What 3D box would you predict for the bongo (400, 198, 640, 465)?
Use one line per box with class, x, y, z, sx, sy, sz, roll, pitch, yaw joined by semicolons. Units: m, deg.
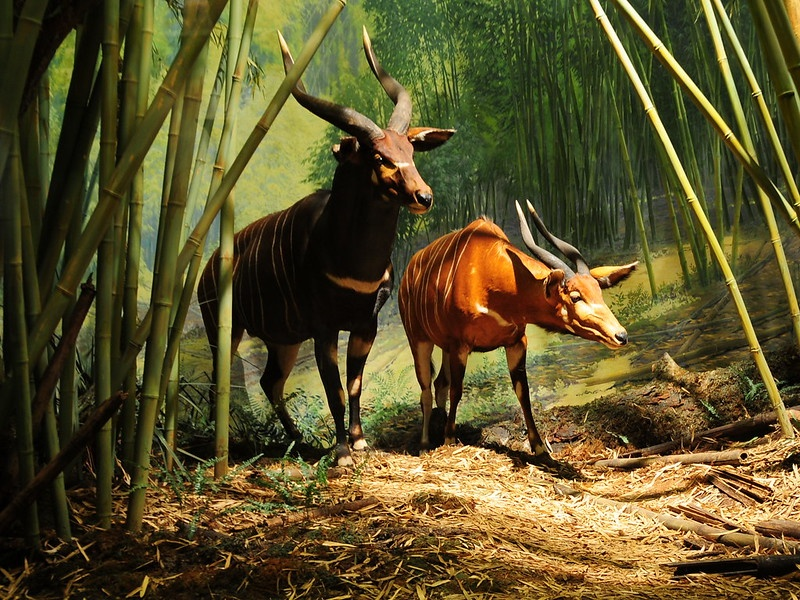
bongo;0.564;0.280;4.693;0.555;1.446;1.826;-4;2;-35
